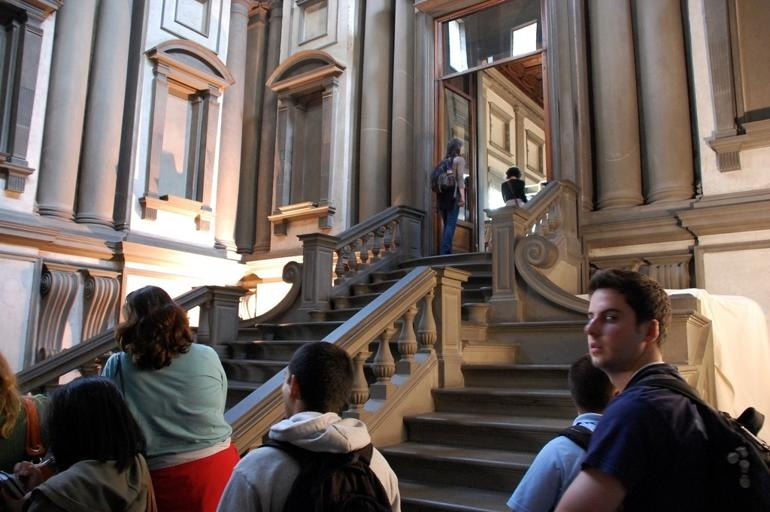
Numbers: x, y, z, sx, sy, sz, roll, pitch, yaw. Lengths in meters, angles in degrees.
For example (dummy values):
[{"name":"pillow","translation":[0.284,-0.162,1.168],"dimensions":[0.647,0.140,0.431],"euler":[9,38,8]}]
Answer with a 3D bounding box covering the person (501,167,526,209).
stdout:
[{"name":"person","translation":[1.809,-0.966,8.488],"dimensions":[0.300,0.649,0.932],"euler":[-3,-5,12]}]
